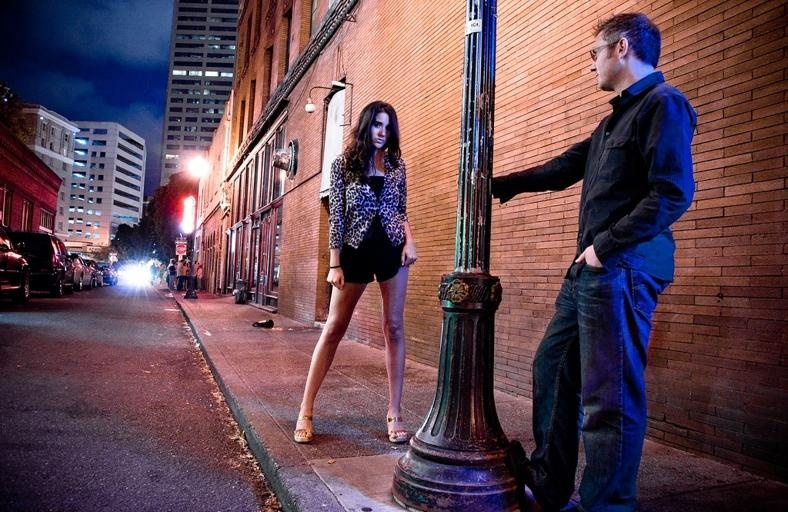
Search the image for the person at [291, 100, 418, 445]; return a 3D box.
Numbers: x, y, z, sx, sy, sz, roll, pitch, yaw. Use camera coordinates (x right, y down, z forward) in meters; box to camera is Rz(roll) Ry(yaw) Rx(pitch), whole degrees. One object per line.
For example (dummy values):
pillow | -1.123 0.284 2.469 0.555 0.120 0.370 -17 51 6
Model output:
person | -0.282 0.128 4.579 0.942 2.969 0.434 3 -4 1
